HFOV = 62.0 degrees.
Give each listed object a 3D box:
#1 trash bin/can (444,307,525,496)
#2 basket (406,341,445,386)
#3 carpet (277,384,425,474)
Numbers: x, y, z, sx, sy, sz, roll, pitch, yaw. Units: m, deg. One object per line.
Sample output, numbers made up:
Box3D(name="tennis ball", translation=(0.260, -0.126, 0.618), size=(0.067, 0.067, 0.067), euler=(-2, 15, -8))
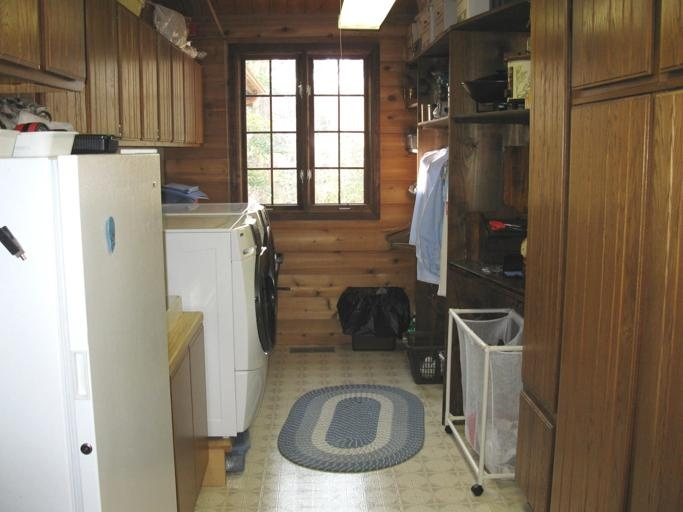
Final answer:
Box3D(name="trash bin/can", translation=(0.757, 0.773, 2.977), size=(0.297, 0.664, 0.815), euler=(-1, 10, 0))
Box3D(name="basket", translation=(0.623, 0.801, 4.090), size=(0.197, 0.188, 0.295), euler=(0, -4, -1))
Box3D(name="carpet", translation=(0.081, 1.068, 3.700), size=(0.911, 0.032, 1.512), euler=(-1, 4, 11))
